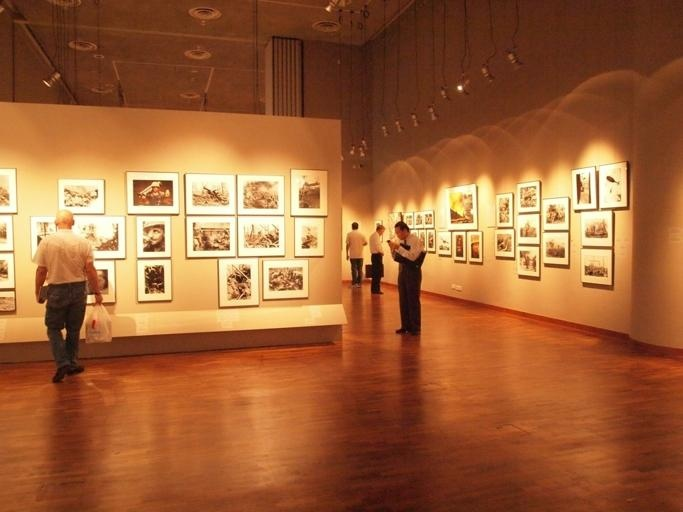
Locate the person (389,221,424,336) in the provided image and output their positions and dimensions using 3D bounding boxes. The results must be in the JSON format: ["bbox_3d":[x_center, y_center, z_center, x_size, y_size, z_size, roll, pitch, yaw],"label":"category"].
[{"bbox_3d":[1.231,0.399,9.987,0.622,2.102,0.884,1,5,9],"label":"person"}]

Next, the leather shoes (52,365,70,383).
[{"bbox_3d":[-3.858,1.583,7.246,0.212,0.196,0.129,-4,7,-34],"label":"leather shoes"}]

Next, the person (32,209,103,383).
[{"bbox_3d":[-3.855,0.504,7.497,0.772,2.305,0.606,-5,7,-41],"label":"person"}]
